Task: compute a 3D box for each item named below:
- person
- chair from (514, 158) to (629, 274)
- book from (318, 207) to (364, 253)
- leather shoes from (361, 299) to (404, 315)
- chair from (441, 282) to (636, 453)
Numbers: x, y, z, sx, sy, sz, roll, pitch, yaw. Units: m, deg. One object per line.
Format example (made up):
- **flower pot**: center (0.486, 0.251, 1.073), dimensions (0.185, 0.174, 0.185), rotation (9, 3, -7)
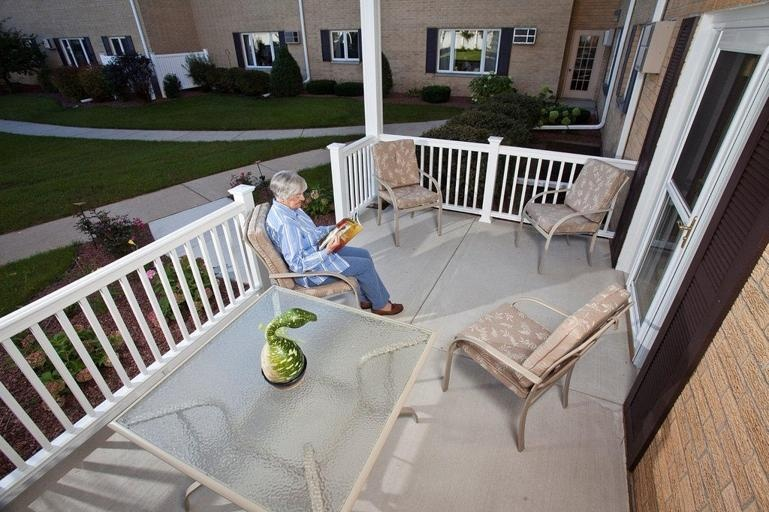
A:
- **person**: center (-0.797, -0.004, 4.404), dimensions (1.249, 1.199, 0.852), rotation (2, 44, -8)
- **chair**: center (2.377, -0.575, 5.161), dimensions (1.077, 1.186, 0.796), rotation (-6, 32, -9)
- **book**: center (-0.369, -0.222, 4.049), dimensions (0.460, 0.170, 0.261), rotation (-46, 39, -13)
- **leather shoes**: center (-0.055, 0.578, 4.534), dimensions (0.530, 0.196, 0.163), rotation (-5, 38, -2)
- **chair**: center (1.381, 1.054, 3.623), dimensions (0.773, 1.073, 0.798), rotation (-32, 52, -27)
